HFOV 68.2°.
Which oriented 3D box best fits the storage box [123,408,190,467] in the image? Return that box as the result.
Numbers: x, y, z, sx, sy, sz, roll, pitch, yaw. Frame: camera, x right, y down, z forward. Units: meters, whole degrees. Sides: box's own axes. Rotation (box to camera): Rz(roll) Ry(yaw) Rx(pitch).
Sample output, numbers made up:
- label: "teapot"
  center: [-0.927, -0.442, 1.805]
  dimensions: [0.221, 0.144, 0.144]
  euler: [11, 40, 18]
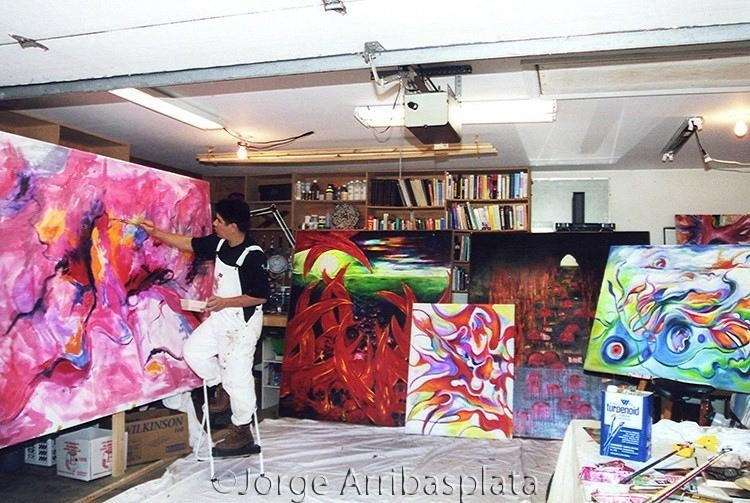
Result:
- label: "storage box"
  center: [-1.835, 1.579, 4.672]
  dimensions: [0.471, 0.247, 0.422]
  euler: [-1, 3, -18]

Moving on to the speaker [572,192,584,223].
- label: "speaker"
  center: [2.662, -0.584, 7.259]
  dimensions: [0.153, 0.403, 0.433]
  euler: [0, -2, 11]

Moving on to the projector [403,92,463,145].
- label: "projector"
  center: [0.459, -1.066, 4.333]
  dimensions: [0.371, 0.362, 0.480]
  euler: [0, 8, 13]
